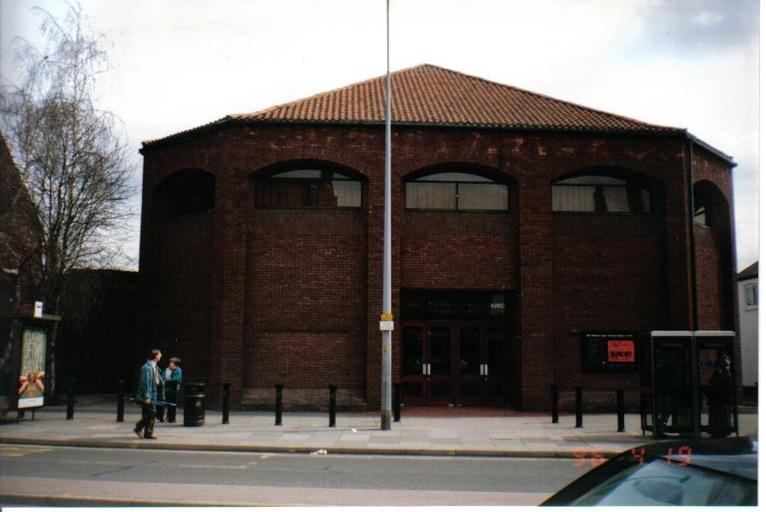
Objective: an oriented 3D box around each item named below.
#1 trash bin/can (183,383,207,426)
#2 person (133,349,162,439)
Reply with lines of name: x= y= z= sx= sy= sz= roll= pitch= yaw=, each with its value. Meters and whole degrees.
trash bin/can: x=-6.345 y=5.031 z=30.065 sx=0.646 sy=1.421 sz=0.407 roll=4 pitch=-12 yaw=-22
person: x=-7.476 y=4.377 z=28.303 sx=0.621 sy=2.806 sz=1.275 roll=2 pitch=-11 yaw=-14
